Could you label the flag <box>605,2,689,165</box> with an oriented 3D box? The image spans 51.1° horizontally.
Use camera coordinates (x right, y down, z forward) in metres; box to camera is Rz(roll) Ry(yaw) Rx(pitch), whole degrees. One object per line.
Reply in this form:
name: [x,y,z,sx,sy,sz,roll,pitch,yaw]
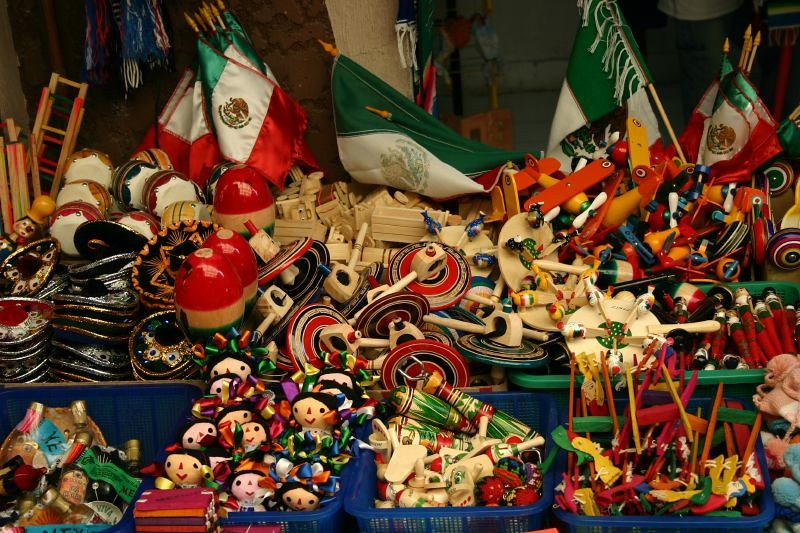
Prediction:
flag: [1.459,-1.120,4.996,0.120,1.201,0.157,-19,1,22]
